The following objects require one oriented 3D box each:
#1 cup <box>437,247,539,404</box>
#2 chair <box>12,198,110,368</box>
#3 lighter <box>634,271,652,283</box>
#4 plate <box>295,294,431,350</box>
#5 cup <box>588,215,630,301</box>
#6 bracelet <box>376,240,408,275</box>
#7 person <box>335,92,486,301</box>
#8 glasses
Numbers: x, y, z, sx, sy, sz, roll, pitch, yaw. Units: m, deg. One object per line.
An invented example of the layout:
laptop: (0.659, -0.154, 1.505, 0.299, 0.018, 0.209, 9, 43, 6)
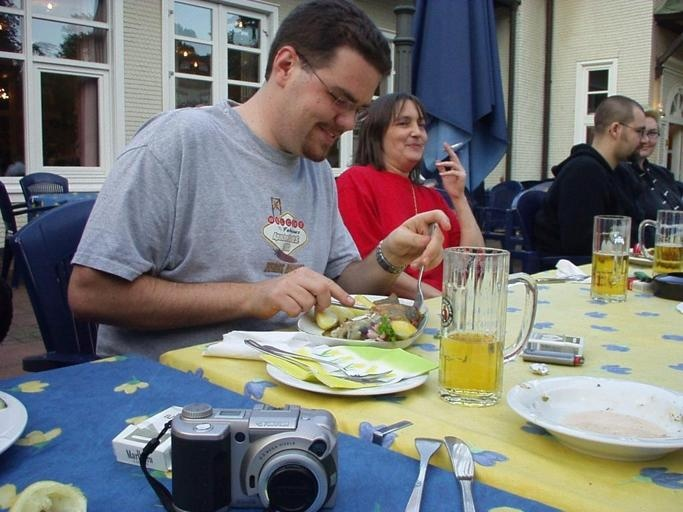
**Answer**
cup: (0.266, 0.126, 1.094, 0.213, 0.295, 0.196, 0, 1, 0)
chair: (-0.802, 0.060, 1.574, 0.296, 0.555, 0.279, 12, 17, 41)
lighter: (1.186, 0.078, 2.113, 0.044, 0.030, 0.101, 13, 15, 10)
plate: (0.048, 0.147, 1.399, 0.321, 0.101, 0.314, 5, 10, 40)
cup: (0.967, 0.017, 1.897, 0.133, 0.305, 0.121, 3, -1, -5)
bracelet: (0.167, -0.003, 1.903, 0.039, 0.109, 0.107, -36, 43, -10)
person: (0.382, -0.311, 2.950, 0.846, 1.226, 0.697, 1, -6, -41)
glasses: (-0.028, -0.552, 1.690, 0.208, 0.183, 0.140, 14, 20, 38)
